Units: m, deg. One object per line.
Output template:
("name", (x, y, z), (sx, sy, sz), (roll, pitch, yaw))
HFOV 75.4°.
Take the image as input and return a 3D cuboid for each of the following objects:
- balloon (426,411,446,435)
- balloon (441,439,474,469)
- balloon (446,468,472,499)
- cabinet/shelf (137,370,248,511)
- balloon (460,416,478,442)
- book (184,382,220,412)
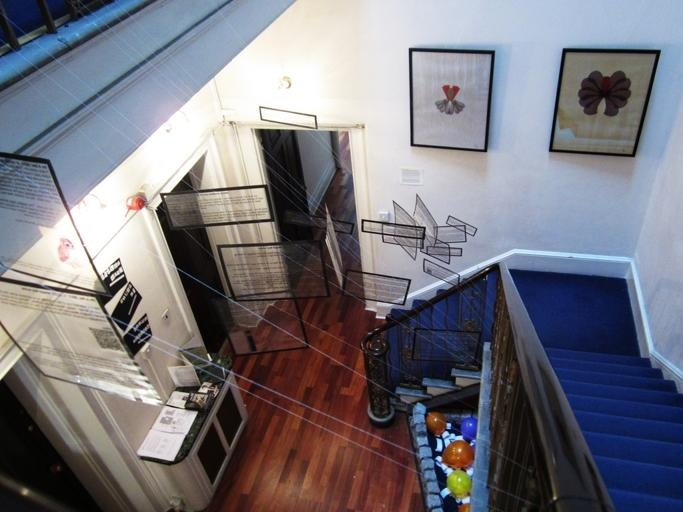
("balloon", (1.176, 2.031, 5.446), (0.222, 0.274, 0.231), (-6, 2, 17))
("balloon", (1.341, 2.253, 5.066), (0.309, 0.273, 0.261), (-25, -12, 21))
("balloon", (1.285, 2.478, 4.844), (0.238, 0.260, 0.220), (6, 27, 12))
("cabinet/shelf", (-1.647, 2.017, 4.760), (0.564, 1.384, 1.613), (6, 55, 10))
("balloon", (1.527, 2.053, 5.310), (0.157, 0.326, 0.218), (6, 27, 12))
("book", (-1.543, 1.562, 4.887), (0.239, 0.078, 0.270), (13, 53, 12))
